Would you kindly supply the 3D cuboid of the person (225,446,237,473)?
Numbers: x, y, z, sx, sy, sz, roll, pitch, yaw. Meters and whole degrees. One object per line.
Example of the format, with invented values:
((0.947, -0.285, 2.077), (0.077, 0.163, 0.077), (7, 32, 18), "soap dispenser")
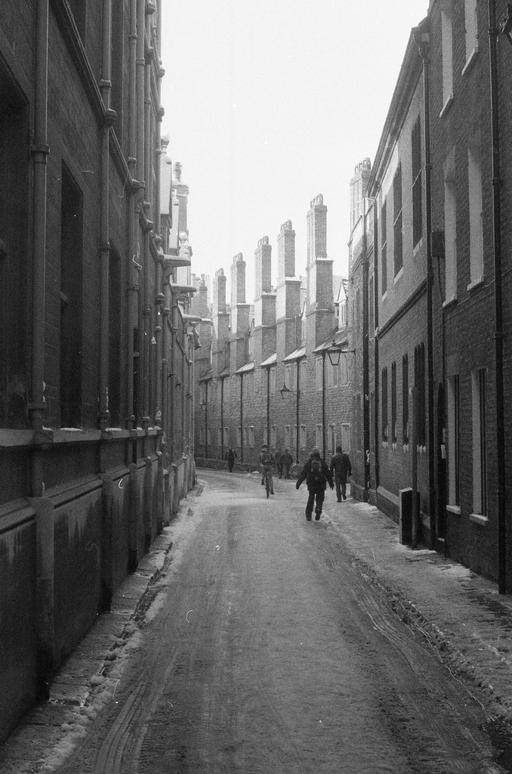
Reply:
((-1.930, 5.750, 55.958), (0.840, 1.583, 2.971), (1, 8, 1), "person")

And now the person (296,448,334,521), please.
((1.516, 2.491, 17.988), (0.476, 1.808, 0.571), (2, -31, 7), "person")

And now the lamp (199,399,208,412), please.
((-4.969, 1.753, 69.122), (0.479, 1.864, 1.234), (0, 1, -12), "lamp")

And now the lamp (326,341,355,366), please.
((3.717, -1.789, 31.627), (0.861, 1.712, 1.915), (0, -5, 21), "lamp")
